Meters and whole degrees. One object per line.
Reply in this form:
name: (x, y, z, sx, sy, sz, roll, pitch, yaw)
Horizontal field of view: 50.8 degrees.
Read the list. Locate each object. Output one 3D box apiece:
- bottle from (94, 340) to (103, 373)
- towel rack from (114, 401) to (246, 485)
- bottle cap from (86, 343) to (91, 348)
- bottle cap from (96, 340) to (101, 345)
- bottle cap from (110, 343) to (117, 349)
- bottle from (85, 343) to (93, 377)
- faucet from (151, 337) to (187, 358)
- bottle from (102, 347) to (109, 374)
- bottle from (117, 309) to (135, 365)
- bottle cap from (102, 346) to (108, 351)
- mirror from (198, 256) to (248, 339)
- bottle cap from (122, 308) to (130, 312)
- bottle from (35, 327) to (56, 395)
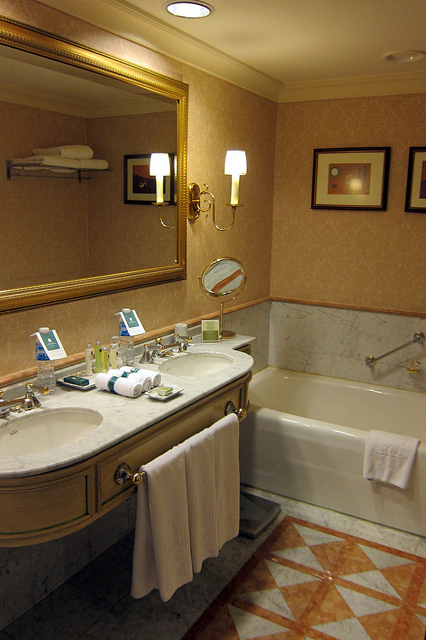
bottle: (-0.445, 0.142, 1.741, 0.030, 0.124, 0.109, 0, 4, -15)
towel rack: (-0.068, 0.413, 1.568, 0.061, 0.099, 0.840, 3, 4, 25)
bottle cap: (-0.473, 0.100, 1.709, 0.011, 0.016, 0.016, 9, 12, 38)
bottle cap: (-0.445, 0.090, 1.729, 0.015, 0.016, 0.016, 2, 5, 25)
bottle cap: (-0.393, 0.104, 1.769, 0.016, 0.024, 0.016, -15, 22, -42)
bottle: (-0.475, 0.150, 1.724, 0.024, 0.117, 0.126, 0, 4, -14)
faucet: (-0.220, 0.140, 2.090, 0.181, 0.104, 0.059, -1, -1, -43)
bottle: (-0.411, 0.153, 1.716, 0.021, 0.094, 0.027, 1, 4, -7)
bottle: (-0.356, 0.075, 1.829, 0.071, 0.252, 0.071, 1, 16, 0)
bottle cap: (-0.414, 0.110, 1.708, 0.014, 0.016, 0.015, 2, -3, -7)
mirror: (0.041, -0.107, 2.582, 0.273, 0.479, 0.096, -5, 16, -43)
bottle cap: (-0.355, -0.040, 1.800, 0.024, 0.013, 0.025, -1, 6, -5)
bottle: (-0.564, 0.132, 1.510, 0.064, 0.217, 0.203, 0, 4, -21)
